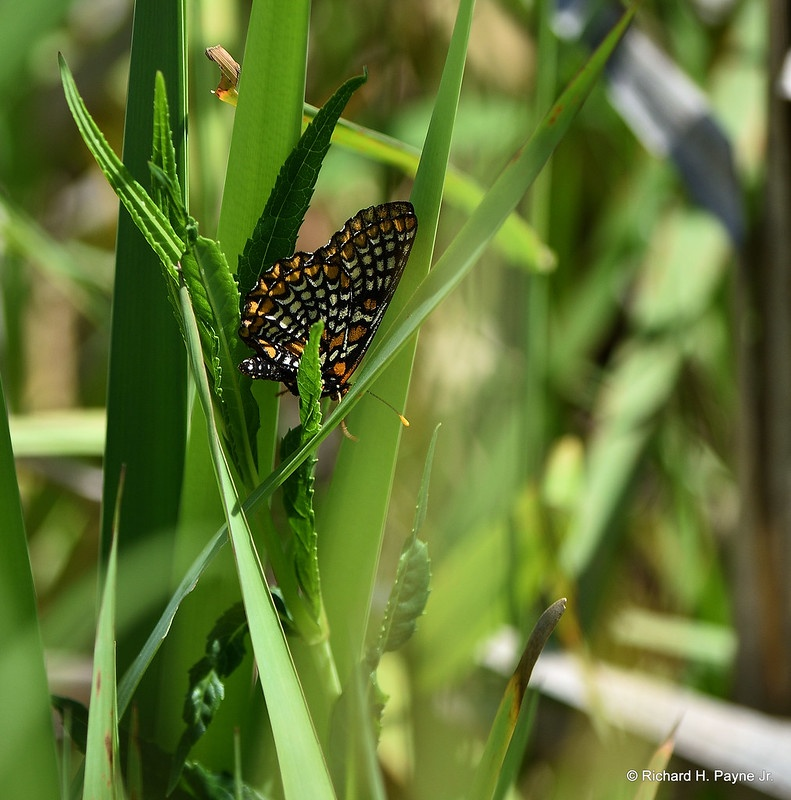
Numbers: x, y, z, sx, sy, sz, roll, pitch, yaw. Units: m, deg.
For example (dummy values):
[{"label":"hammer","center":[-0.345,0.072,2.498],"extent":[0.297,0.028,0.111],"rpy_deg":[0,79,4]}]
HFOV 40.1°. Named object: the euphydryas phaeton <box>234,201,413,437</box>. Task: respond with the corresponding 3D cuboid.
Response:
[{"label":"euphydryas phaeton","center":[-0.026,-0.042,0.465],"extent":[0.056,0.082,0.130],"rpy_deg":[7,-16,4]}]
